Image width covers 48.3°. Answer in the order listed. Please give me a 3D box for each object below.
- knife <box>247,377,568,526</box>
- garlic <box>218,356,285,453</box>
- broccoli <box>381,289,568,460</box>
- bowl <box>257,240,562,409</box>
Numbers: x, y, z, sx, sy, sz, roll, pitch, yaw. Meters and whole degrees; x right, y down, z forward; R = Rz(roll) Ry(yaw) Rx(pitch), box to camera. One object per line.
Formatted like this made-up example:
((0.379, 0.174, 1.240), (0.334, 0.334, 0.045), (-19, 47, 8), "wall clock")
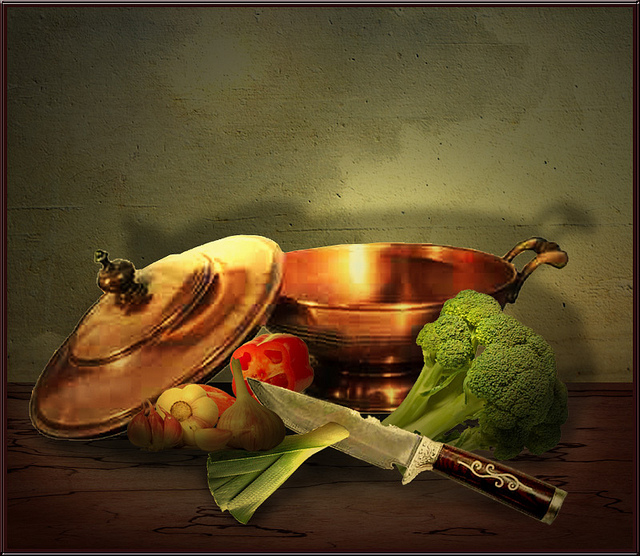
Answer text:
((-0.016, 0.244, 1.237), (0.850, 0.068, 0.127), (12, 49, 27), "knife")
((-0.127, 0.201, 1.175), (0.143, 0.126, 0.105), (0, -1, 3), "garlic")
((0.307, 0.143, 1.263), (0.345, 0.254, 0.333), (1, 6, 19), "broccoli")
((0.131, 0.034, 1.192), (0.524, 0.137, 0.232), (-6, 30, -4), "bowl")
